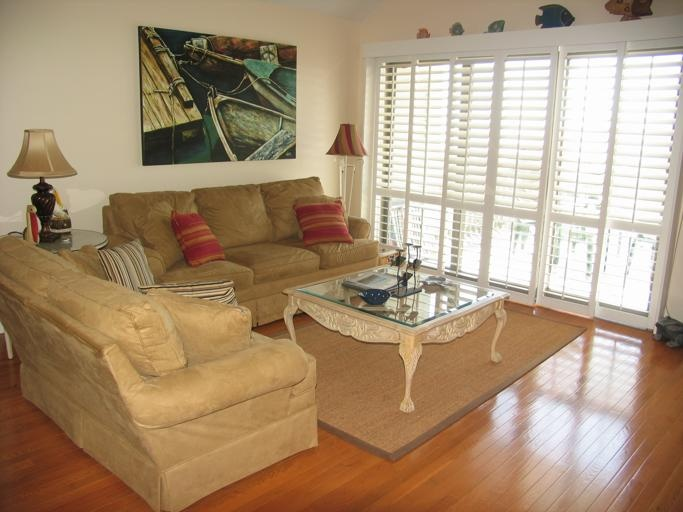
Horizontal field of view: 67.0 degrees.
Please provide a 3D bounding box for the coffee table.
[{"bbox_3d":[0.280,0.336,3.566,1.165,0.493,1.148,-12,18,-44],"label":"coffee table"}]

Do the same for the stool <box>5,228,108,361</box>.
[{"bbox_3d":[-1.936,0.193,3.913,1.083,0.692,0.912,-2,21,-25],"label":"stool"}]

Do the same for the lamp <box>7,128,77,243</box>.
[{"bbox_3d":[-2.134,-0.514,3.724,0.337,0.797,0.322,2,18,21],"label":"lamp"}]

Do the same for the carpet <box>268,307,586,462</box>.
[{"bbox_3d":[0.416,0.857,3.629,0.918,0.013,1.370,12,19,39],"label":"carpet"}]

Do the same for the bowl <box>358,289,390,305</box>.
[{"bbox_3d":[0.226,0.262,3.437,0.140,0.040,0.119,-9,20,-33],"label":"bowl"}]

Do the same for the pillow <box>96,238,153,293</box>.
[{"bbox_3d":[-1.328,0.060,3.192,0.127,0.363,0.406,-32,-4,18],"label":"pillow"}]
